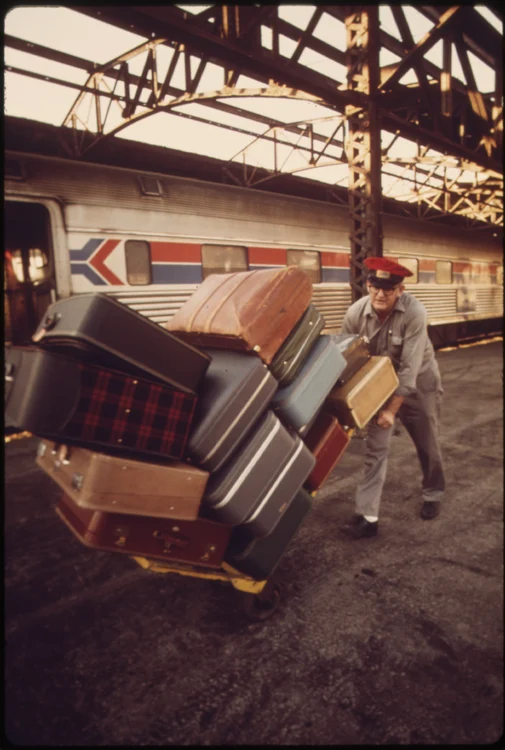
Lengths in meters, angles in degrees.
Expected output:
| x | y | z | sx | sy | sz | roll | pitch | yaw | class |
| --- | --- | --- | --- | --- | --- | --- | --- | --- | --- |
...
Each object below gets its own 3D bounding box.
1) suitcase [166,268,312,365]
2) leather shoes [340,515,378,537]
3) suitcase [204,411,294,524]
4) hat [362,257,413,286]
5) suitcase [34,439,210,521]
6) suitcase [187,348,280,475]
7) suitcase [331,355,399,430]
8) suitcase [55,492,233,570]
| x | y | z | sx | sy | sz | roll | pitch | yaw | class |
| --- | --- | --- | --- | --- | --- | --- | --- | --- | --- |
| -0.039 | -0.389 | 2.998 | 0.528 | 0.205 | 0.707 | 10 | 44 | 38 | suitcase |
| 0.714 | 1.022 | 3.786 | 0.244 | 0.132 | 0.106 | 3 | 25 | 10 | leather shoes |
| -0.017 | 0.452 | 2.628 | 0.150 | 0.496 | 0.361 | 40 | -6 | -2 | suitcase |
| 0.862 | -0.664 | 3.637 | 0.266 | 0.176 | 0.283 | 0 | 13 | 15 | hat |
| -0.596 | 0.437 | 2.610 | 0.656 | 0.160 | 0.686 | 15 | 2 | -40 | suitcase |
| -0.106 | 0.120 | 2.607 | 0.168 | 0.490 | 0.495 | 31 | 39 | -21 | suitcase |
| 0.637 | 0.093 | 3.255 | 0.411 | 0.199 | 0.231 | -42 | 27 | -28 | suitcase |
| -0.483 | 0.715 | 2.526 | 0.467 | 0.123 | 0.468 | 7 | -2 | 14 | suitcase |
